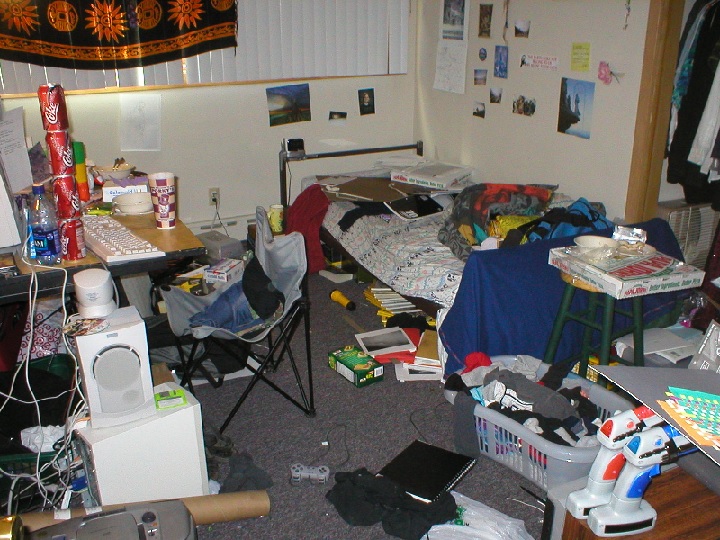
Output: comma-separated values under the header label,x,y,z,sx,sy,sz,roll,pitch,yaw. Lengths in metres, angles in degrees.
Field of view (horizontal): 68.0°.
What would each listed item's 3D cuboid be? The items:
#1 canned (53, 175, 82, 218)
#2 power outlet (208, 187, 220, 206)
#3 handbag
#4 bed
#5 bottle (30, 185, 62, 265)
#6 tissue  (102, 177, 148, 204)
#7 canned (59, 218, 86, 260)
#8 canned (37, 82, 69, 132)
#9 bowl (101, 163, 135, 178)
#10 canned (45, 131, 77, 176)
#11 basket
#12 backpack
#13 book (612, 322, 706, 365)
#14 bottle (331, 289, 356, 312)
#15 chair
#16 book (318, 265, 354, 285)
label,x,y,z,sx,sy,sz,roll,pitch,yaw
canned,-1.189,-0.296,2.164,0.094,0.170,0.077,-13,24,-28
power outlet,-1.252,-0.637,4.564,0.133,0.192,0.026,-10,22,-33
handbag,-0.704,0.188,2.784,0.483,0.207,0.449,-16,38,-27
bed,0.624,-0.340,4.011,1.565,0.839,2.545,-15,27,-23
bottle,-1.295,-0.188,2.182,0.116,0.300,0.191,-12,23,-25
tissue ,-1.290,-0.456,2.923,0.200,0.124,0.192,-10,20,-26
canned,-1.182,-0.127,2.195,0.093,0.176,0.059,-14,24,-29
canned,-1.214,-0.642,2.118,0.094,0.176,0.159,-13,23,-27
bowl,-1.442,-0.593,3.210,0.145,0.038,0.146,1,18,0
canned,-1.193,-0.466,2.134,0.088,0.173,0.084,-12,23,-26
basket,0.769,0.661,2.343,0.692,0.396,0.484,18,28,42
backpack,1.135,-0.263,3.080,0.502,0.181,0.308,-21,21,0
book,1.594,0.394,2.758,0.281,0.067,0.282,-7,21,-4
bottle,-0.114,0.215,3.872,0.097,0.092,0.230,-7,19,-37
chair,-0.647,0.356,2.907,0.714,1.073,0.823,-12,38,-29
book,-0.165,0.017,4.269,0.140,0.046,0.189,-13,26,-34
